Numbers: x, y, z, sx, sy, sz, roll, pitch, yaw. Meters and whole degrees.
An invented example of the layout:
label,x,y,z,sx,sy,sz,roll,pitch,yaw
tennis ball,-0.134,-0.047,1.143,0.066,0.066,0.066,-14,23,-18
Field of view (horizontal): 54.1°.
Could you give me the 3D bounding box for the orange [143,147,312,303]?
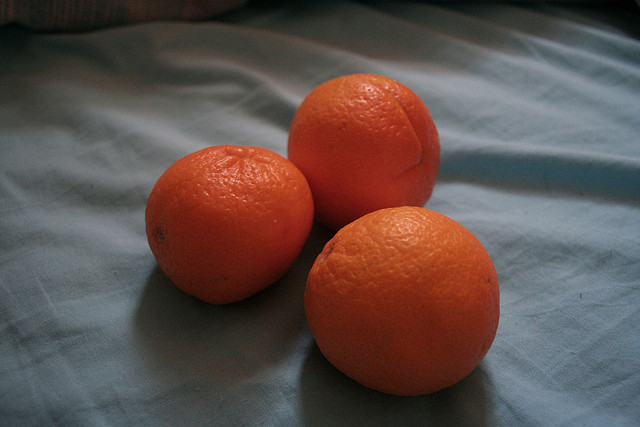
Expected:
label,x,y,z,sx,sy,sz,roll,pitch,yaw
orange,-0.185,0.025,1.316,0.339,0.329,0.323,-3,23,-32
